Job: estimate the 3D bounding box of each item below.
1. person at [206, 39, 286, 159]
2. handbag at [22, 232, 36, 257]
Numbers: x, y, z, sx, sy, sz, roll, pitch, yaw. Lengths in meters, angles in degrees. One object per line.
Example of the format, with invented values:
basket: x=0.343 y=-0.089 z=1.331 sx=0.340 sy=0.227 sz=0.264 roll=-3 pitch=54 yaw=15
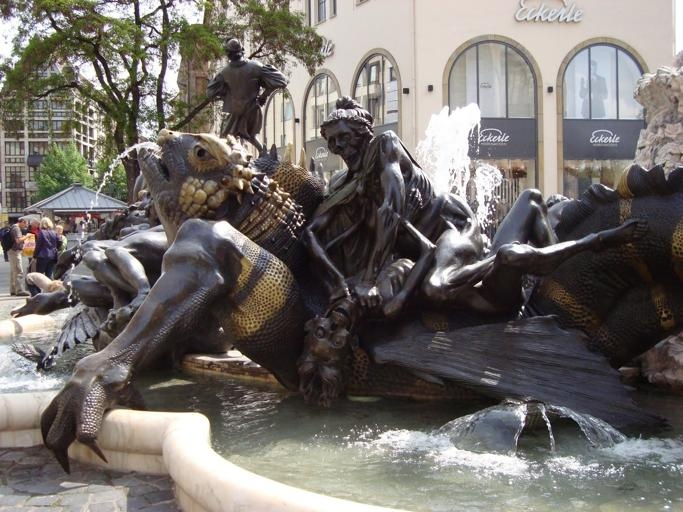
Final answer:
person: x=-1.255 y=-2.085 z=8.454 sx=0.609 sy=1.398 sz=1.267 roll=-7 pitch=10 yaw=-33
handbag: x=-7.062 y=-0.228 z=14.992 sx=0.297 sy=0.465 sz=0.626 roll=-6 pitch=9 yaw=-26
